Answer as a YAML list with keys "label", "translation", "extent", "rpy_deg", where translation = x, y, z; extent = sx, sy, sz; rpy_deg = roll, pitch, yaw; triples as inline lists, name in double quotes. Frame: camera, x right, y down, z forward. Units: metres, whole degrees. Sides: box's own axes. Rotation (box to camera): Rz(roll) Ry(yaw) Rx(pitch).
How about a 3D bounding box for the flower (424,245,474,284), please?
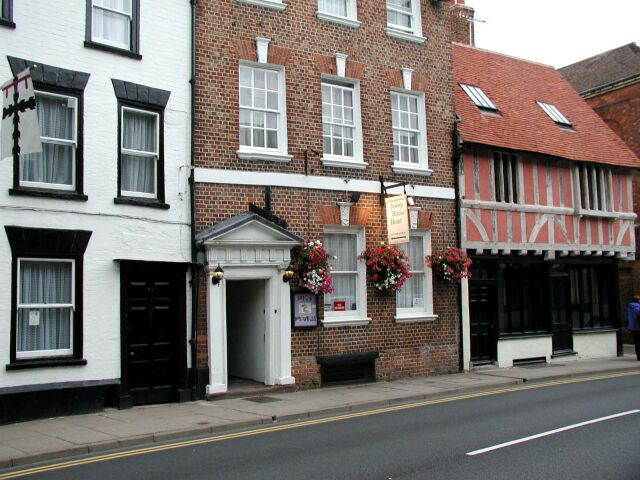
- label: "flower"
  translation: [3.956, 0.729, 21.846]
  extent: [1.001, 1.023, 1.088]
  rpy_deg: [4, -5, -10]

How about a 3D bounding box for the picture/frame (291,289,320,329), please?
- label: "picture/frame"
  translation: [-0.452, 1.852, 19.572]
  extent: [0.882, 1.199, 0.113]
  rpy_deg: [5, -9, -38]

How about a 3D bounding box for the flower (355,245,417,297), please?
- label: "flower"
  translation: [2.065, 0.584, 20.918]
  extent: [1.052, 1.399, 1.284]
  rpy_deg: [-1, 13, -4]

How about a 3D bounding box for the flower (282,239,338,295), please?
- label: "flower"
  translation: [-0.257, 0.739, 19.456]
  extent: [1.253, 0.874, 1.200]
  rpy_deg: [-3, 0, 44]

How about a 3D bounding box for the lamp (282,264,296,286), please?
- label: "lamp"
  translation: [-0.870, 0.910, 19.261]
  extent: [0.377, 0.595, 0.423]
  rpy_deg: [2, -19, -9]
